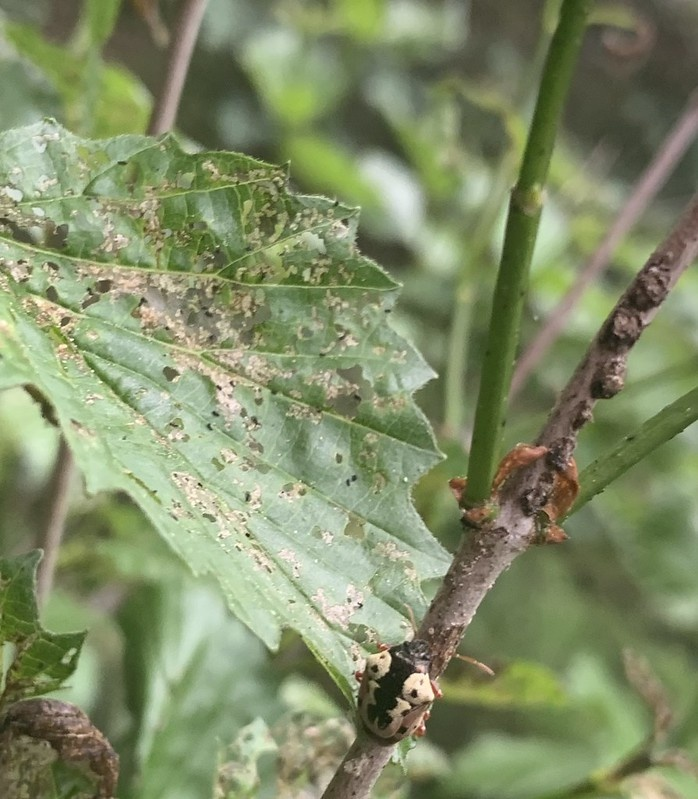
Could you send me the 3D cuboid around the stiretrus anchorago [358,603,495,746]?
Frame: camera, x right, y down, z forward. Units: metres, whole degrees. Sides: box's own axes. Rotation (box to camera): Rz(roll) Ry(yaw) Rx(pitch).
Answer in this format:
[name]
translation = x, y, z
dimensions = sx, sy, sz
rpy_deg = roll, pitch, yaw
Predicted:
[stiretrus anchorago]
translation = 0.039, 0.142, 0.506
dimensions = 0.069, 0.050, 0.019
rpy_deg = 23, 3, 20
